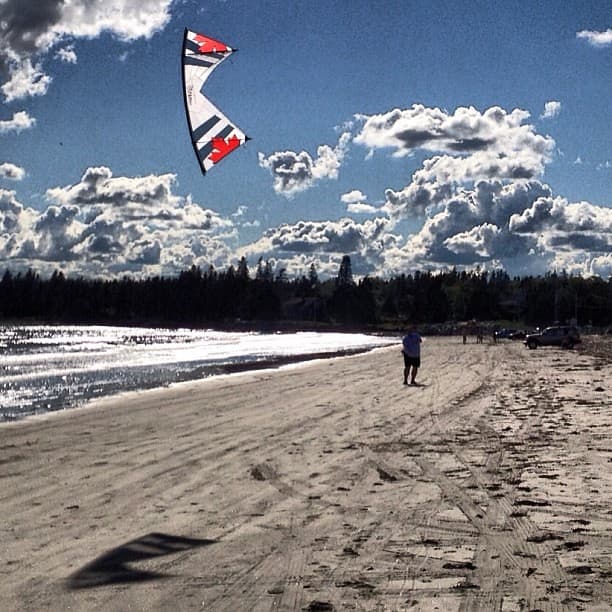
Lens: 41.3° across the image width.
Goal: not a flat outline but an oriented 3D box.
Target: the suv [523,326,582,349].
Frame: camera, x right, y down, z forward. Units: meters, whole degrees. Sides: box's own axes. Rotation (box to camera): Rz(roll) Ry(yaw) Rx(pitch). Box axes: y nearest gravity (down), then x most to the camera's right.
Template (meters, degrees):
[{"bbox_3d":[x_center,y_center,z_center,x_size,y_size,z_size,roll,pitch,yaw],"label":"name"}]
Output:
[{"bbox_3d":[15.737,1.976,52.197,3.080,2.014,1.715,1,-2,3],"label":"suv"}]
